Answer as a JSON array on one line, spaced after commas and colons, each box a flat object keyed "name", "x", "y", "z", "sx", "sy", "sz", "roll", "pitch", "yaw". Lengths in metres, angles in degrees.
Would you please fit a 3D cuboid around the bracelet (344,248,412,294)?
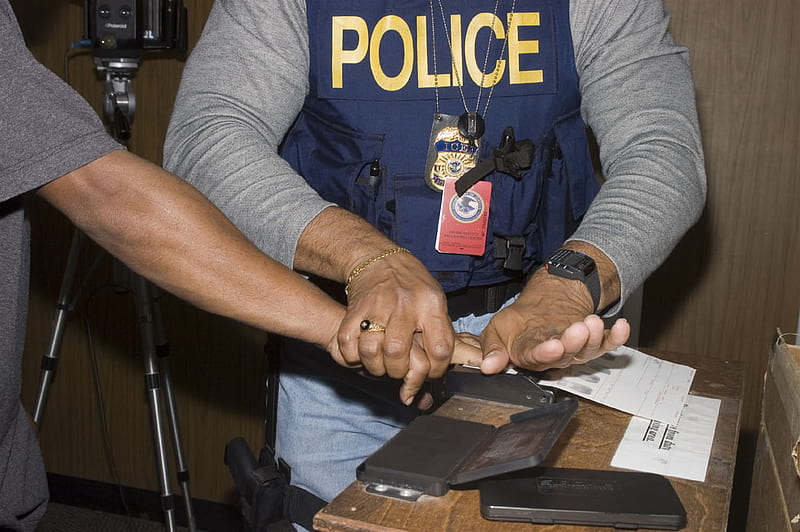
[{"name": "bracelet", "x": -0.041, "y": 0.013, "z": 1.170, "sx": 0.026, "sy": 0.105, "sz": 0.081, "roll": 51, "pitch": 26, "yaw": 19}]

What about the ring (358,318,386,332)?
[{"name": "ring", "x": -0.049, "y": 0.100, "z": 1.078, "sx": 0.033, "sy": 0.012, "sz": 0.021, "roll": 6, "pitch": 48, "yaw": 2}]
